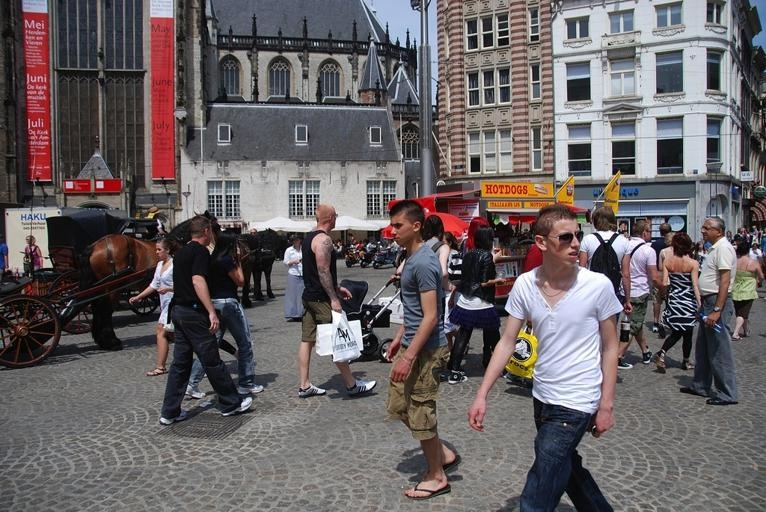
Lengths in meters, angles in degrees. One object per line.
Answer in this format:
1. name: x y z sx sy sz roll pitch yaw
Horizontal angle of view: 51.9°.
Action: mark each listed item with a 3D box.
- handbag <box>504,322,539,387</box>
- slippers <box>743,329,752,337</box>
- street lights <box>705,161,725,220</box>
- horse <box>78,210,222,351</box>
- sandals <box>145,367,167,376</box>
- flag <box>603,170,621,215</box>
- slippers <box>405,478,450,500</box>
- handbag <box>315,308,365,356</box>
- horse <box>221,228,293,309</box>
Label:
1. handbag: 2.592 1.928 14.407 0.790 1.446 0.788 0 0 -15
2. slippers: 8.132 1.729 17.528 0.052 0.107 0.155 -21 33 49
3. street lights: 15.317 -2.981 36.224 0.878 2.491 0.690 4 -1 22
4. horse: -5.615 0.497 19.033 1.132 3.203 4.682 3 2 26
5. sandals: -4.347 2.238 15.163 0.309 0.114 0.157 4 -7 -4
6. flag: 7.699 -2.085 26.257 0.578 1.639 0.079 1 34 13
7. slippers: 0.681 3.463 11.647 0.523 0.109 0.277 0 -3 -10
8. handbag: -0.740 1.348 13.705 0.761 0.915 0.577 0 0 -18
9. horse: -3.224 0.379 20.536 1.602 2.423 3.021 1 1 -2
